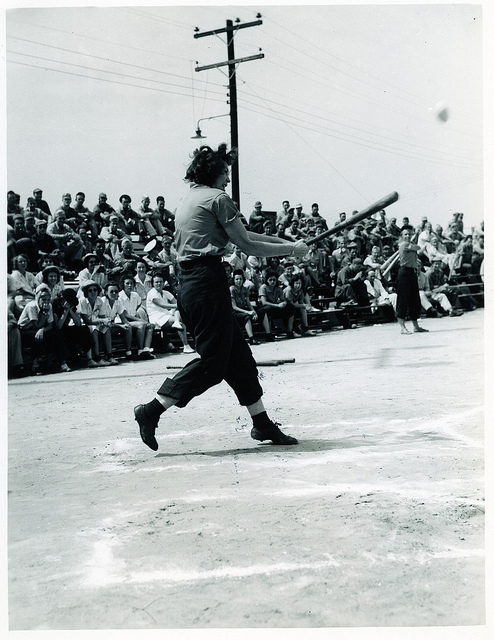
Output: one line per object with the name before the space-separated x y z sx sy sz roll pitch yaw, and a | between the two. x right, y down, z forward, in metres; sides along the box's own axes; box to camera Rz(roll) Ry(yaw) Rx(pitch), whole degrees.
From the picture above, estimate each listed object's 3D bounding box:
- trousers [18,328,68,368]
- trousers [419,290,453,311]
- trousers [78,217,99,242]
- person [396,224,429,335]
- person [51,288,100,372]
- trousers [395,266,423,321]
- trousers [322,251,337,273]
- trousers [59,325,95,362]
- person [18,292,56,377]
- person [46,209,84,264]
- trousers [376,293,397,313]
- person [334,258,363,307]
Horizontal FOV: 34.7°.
trousers | -2.410 0.326 9.433 0.483 0.708 0.287 -7 11 -14
trousers | 3.791 -0.368 15.911 0.638 0.219 0.694 4 20 -1
trousers | -2.542 -1.444 12.724 0.127 0.335 0.366 -17 -6 36
person | 2.408 -0.522 11.866 0.417 1.666 1.153 -1 9 12
person | -2.139 0.136 9.965 0.344 1.041 0.791 -2 9 11
trousers | 2.416 -0.376 11.896 0.463 0.804 0.336 -4 6 -19
trousers | 1.658 -1.159 16.095 0.389 0.443 0.394 2 -11 -6
trousers | -2.127 0.304 9.978 0.457 0.362 0.386 -1 6 -6
person | -2.515 0.171 9.563 0.424 1.016 0.556 -5 9 -13
person | -2.800 -1.208 11.913 0.579 0.780 0.563 0 5 25
trousers | 2.695 -0.362 15.427 0.303 0.364 0.344 -7 -22 31
person | 1.951 -0.702 15.379 0.444 0.911 0.626 0 10 17
